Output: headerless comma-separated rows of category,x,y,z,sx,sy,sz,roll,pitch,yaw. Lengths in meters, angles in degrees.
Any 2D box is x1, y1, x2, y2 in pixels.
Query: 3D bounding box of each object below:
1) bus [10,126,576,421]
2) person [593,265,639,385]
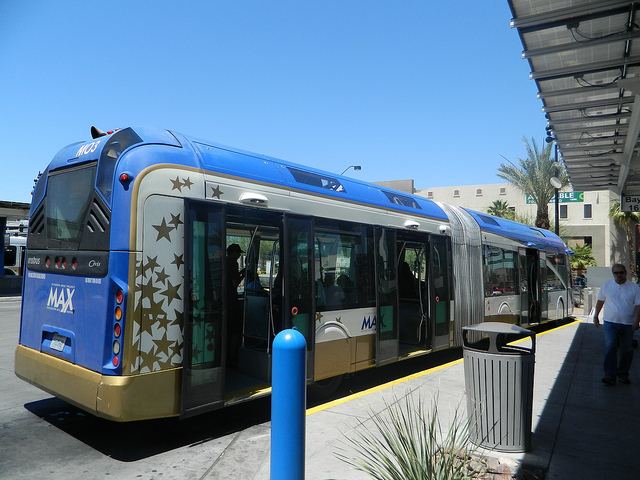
bus,2.270,0.647,12.573,4.566,4.796,17.426,-4,-4,39
person,5.633,1.592,8.835,0.700,2.275,0.611,0,1,33
